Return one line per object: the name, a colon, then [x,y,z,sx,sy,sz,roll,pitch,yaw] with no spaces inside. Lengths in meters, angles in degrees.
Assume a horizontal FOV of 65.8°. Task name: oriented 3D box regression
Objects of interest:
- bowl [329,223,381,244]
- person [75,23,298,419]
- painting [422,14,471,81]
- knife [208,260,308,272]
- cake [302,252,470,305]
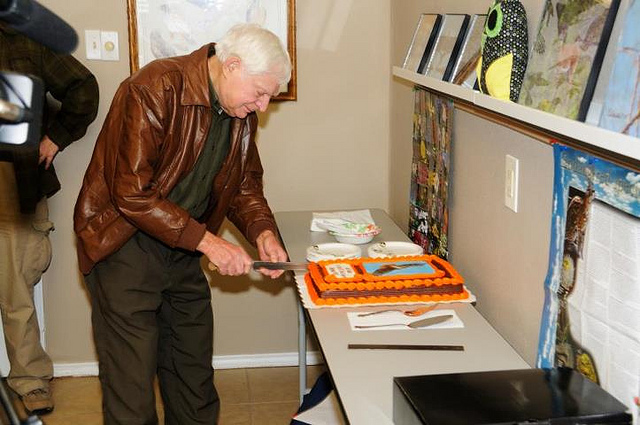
bowl: [0.176,0.097,2.550,0.259,0.089,0.224,2,22,-3]
person: [-0.567,0.174,2.121,0.830,1.854,0.529,-8,22,-26]
painting: [0.529,-0.675,2.061,0.028,0.260,0.190,12,18,-17]
knife: [-0.254,0.216,2.044,0.325,0.061,0.036,3,34,-6]
cake: [0.247,0.265,1.970,0.413,0.094,0.283,-1,12,-4]
